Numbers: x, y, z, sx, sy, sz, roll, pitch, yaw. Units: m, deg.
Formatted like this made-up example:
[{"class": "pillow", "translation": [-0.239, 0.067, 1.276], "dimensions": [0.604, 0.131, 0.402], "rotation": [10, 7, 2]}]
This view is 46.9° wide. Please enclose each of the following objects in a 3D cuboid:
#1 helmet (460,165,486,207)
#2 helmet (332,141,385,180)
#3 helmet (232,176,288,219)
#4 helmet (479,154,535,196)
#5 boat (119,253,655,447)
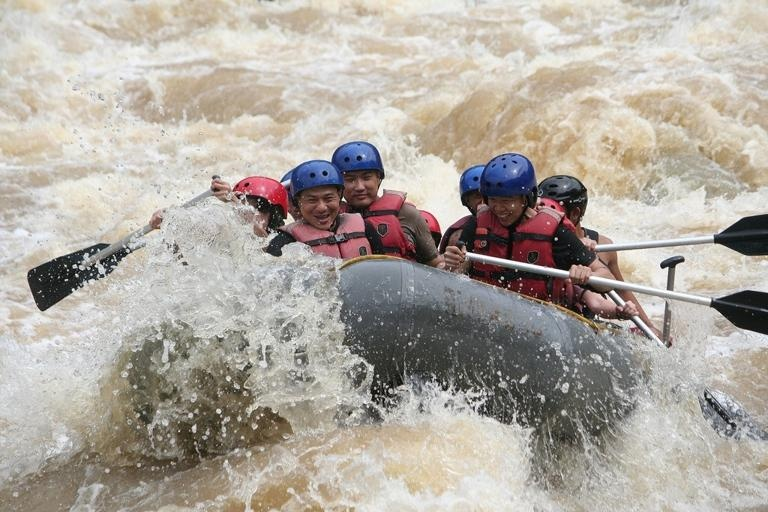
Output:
[{"class": "helmet", "translation": [1.157, -0.925, 11.869], "dimensions": [0.320, 0.448, 0.418], "rotation": [-6, 9, 16]}, {"class": "helmet", "translation": [-0.351, -1.212, 11.086], "dimensions": [0.420, 0.513, 0.474], "rotation": [1, 60, 2]}, {"class": "helmet", "translation": [-1.538, -0.799, 11.034], "dimensions": [0.422, 0.586, 0.357], "rotation": [12, 71, 59]}, {"class": "helmet", "translation": [1.511, -0.921, 10.768], "dimensions": [0.677, 0.446, 0.493], "rotation": [0, 52, -3]}, {"class": "boat", "translation": [0.359, 0.839, 9.533], "dimensions": [4.612, 1.576, 2.339], "rotation": [14, 63, -15]}]
